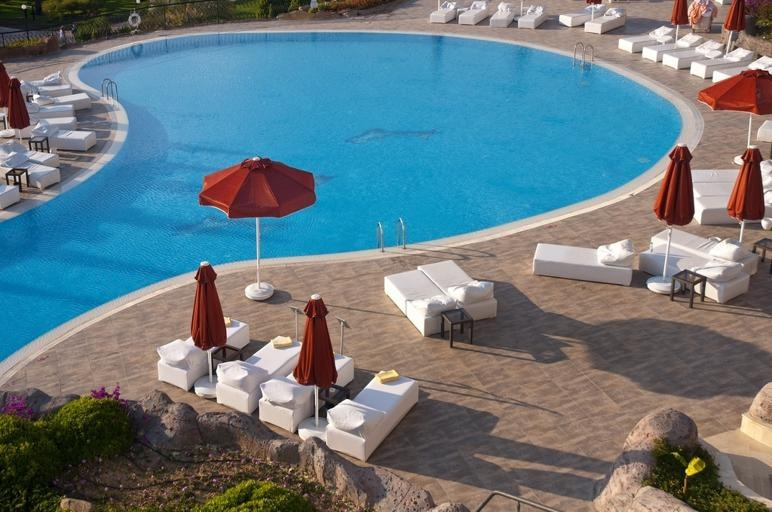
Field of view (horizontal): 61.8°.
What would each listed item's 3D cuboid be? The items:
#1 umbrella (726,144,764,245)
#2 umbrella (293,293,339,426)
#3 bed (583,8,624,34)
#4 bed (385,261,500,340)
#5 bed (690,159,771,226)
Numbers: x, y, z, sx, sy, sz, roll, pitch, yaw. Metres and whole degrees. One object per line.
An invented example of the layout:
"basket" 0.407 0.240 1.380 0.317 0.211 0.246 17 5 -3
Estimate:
"umbrella" 8.953 -1.461 16.029 0.795 2.668 1.434 9 28 27
"umbrella" -1.353 2.094 12.290 1.467 2.927 1.080 -1 43 -7
"bed" 12.012 -12.851 35.282 2.749 0.893 1.166 -31 43 -35
"bed" 1.187 0.955 15.070 1.853 0.937 1.974 -13 24 -22
"bed" 9.856 -1.714 18.137 2.540 0.541 2.281 0 42 -4
